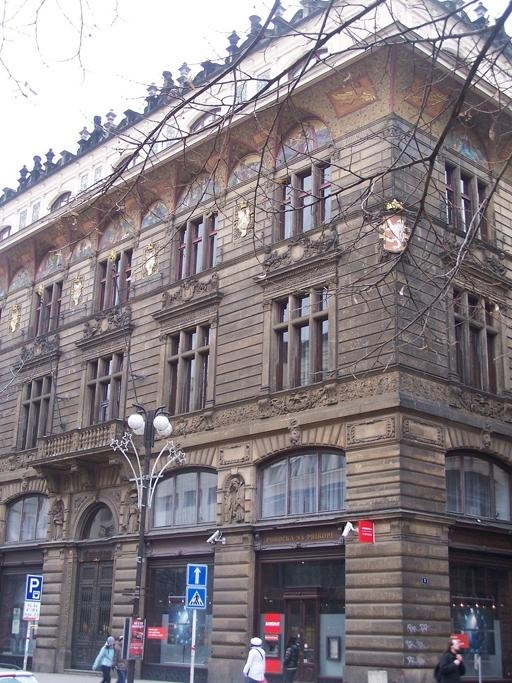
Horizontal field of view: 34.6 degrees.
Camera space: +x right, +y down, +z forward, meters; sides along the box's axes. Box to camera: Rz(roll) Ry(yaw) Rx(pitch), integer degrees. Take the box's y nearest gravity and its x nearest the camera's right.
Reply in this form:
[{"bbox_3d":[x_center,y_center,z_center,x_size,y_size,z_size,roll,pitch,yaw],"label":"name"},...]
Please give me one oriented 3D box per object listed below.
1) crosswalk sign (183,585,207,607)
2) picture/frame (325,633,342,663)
[{"bbox_3d":[-1.409,6.090,19.584,0.348,0.551,0.842,-1,-24,7],"label":"crosswalk sign"},{"bbox_3d":[2.132,8.325,22.378,0.124,0.862,0.686,21,-27,-31],"label":"picture/frame"}]
